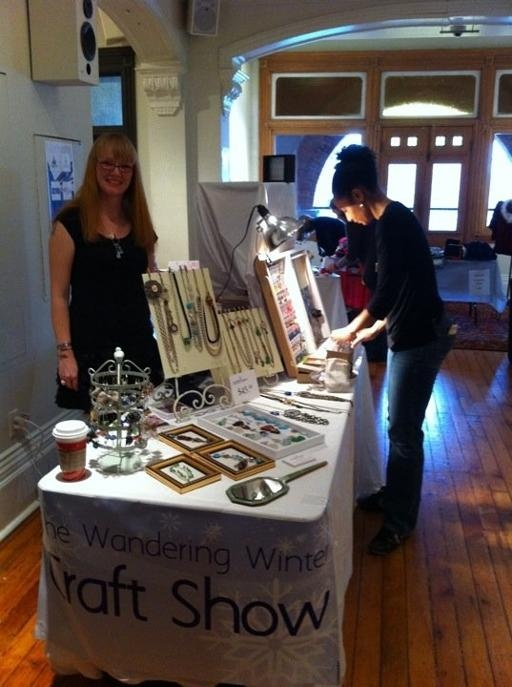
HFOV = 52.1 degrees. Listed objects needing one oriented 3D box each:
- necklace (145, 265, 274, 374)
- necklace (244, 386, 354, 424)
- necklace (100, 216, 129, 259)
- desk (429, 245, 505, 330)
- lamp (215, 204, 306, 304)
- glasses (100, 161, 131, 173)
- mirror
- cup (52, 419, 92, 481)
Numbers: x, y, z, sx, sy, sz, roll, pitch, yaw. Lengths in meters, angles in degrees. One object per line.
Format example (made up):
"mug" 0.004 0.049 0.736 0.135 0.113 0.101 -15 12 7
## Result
"necklace" -0.152 -0.071 1.760 0.019 0.320 0.378 -13 3 35
"necklace" 0.156 0.201 1.731 0.203 0.006 0.130 9 22 35
"necklace" -0.500 -0.377 1.852 0.097 0.150 0.101 0 11 -6
"desk" 2.256 -0.636 5.857 0.962 0.954 0.556 8 -6 3
"lamp" 0.048 -0.356 1.995 0.336 0.355 0.192 6 46 10
"glasses" -0.464 -0.582 1.725 0.099 0.031 0.021 -2 11 -18
"mirror" 0.031 0.288 1.151 0.062 0.010 0.208 8 11 37
"cup" -0.412 0.254 1.189 0.085 0.117 0.090 1 3 0
